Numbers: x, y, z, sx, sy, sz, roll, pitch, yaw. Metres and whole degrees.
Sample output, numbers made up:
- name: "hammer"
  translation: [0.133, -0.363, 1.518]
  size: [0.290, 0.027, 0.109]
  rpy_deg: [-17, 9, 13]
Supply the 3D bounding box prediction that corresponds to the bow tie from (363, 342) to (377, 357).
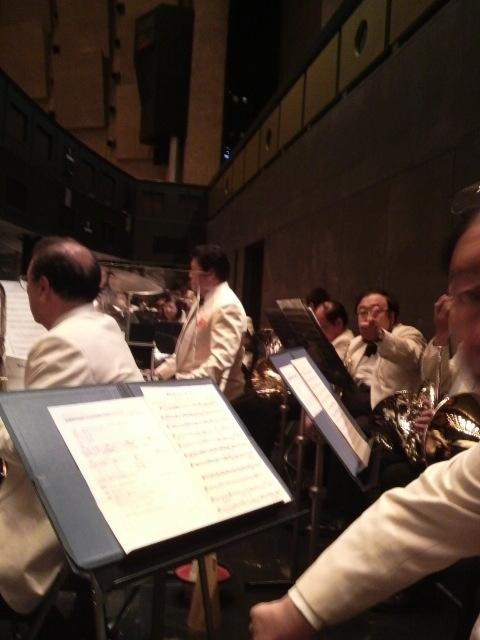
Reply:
- name: "bow tie"
  translation: [0.836, 0.170, 3.324]
  size: [0.055, 0.090, 0.078]
  rpy_deg: [4, 19, 24]
